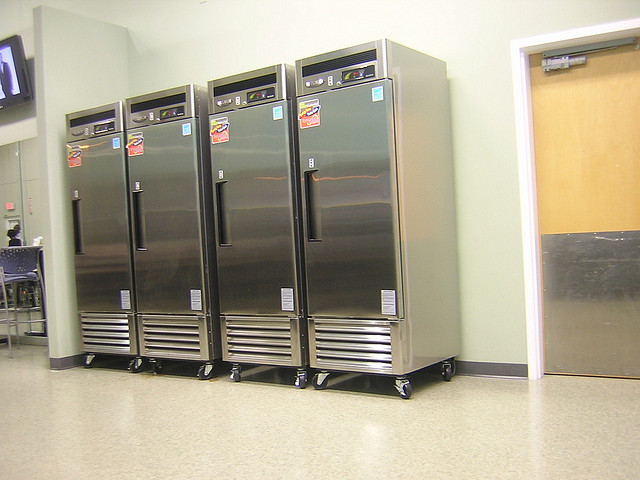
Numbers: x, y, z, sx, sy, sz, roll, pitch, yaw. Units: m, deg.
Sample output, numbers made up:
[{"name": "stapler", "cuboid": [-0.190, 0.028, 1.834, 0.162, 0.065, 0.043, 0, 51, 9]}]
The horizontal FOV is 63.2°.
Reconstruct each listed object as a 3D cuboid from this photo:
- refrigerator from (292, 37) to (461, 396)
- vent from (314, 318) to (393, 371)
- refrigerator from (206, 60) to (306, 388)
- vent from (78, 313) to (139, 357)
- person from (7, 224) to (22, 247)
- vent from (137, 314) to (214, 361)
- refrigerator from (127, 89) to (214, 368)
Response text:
[{"name": "refrigerator", "cuboid": [0.450, -0.152, 4.140, 1.237, 2.703, 0.655, -4, 3, 8]}, {"name": "vent", "cuboid": [0.366, 0.831, 4.199, 0.753, 0.415, 0.412, -5, -7, 29]}, {"name": "refrigerator", "cuboid": [-0.553, -0.116, 4.550, 0.852, 2.676, 0.281, -3, 3, 28]}, {"name": "vent", "cuboid": [-2.150, 0.962, 5.459, 0.677, 0.392, 0.368, -3, -1, 12]}, {"name": "person", "cuboid": [-4.751, -0.082, 8.077, 0.185, 0.313, 1.134, -6, 3, -31]}, {"name": "vent", "cuboid": [-1.542, 0.966, 5.002, 0.404, 0.414, 0.763, -26, -27, 36]}, {"name": "refrigerator", "cuboid": [-1.439, -0.076, 4.947, 0.893, 1.898, 0.261, -3, 3, 29]}]
